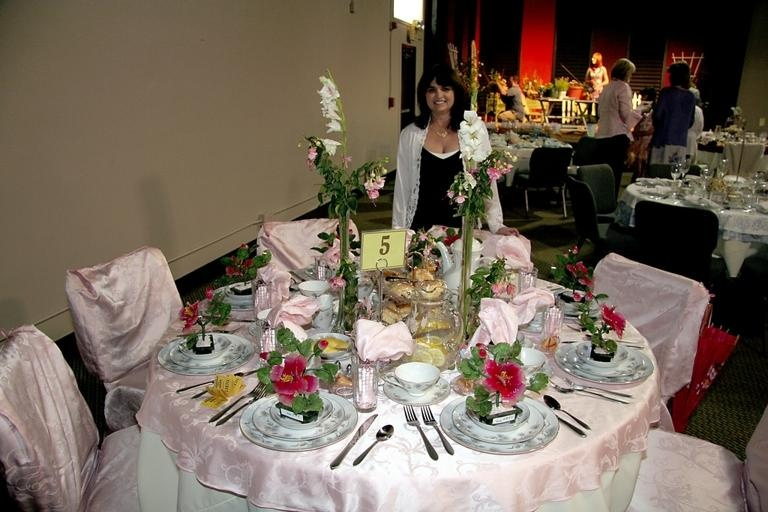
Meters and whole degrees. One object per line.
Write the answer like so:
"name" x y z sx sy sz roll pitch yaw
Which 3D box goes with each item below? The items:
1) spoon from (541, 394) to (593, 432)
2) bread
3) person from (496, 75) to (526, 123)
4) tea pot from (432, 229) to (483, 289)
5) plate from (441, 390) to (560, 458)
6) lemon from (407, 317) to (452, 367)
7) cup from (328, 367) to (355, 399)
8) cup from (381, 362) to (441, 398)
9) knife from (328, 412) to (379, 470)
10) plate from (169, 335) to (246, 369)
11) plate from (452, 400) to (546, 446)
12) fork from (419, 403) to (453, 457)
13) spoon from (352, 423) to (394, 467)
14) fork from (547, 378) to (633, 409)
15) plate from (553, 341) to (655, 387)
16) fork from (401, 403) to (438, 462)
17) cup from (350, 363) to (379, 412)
"spoon" 0.631 0.547 1.767 0.050 0.035 0.240 -16 40 -33
"bread" 0.103 0.156 2.121 0.211 0.086 0.270 -13 24 -4
"person" 2.564 -3.102 10.028 0.620 1.092 0.588 9 15 26
"tea pot" 0.325 0.032 2.203 0.220 0.252 0.159 2 14 8
"plate" 0.377 0.590 1.651 0.222 0.033 0.228 12 25 28
"lemon" 0.191 0.327 1.922 0.179 0.261 0.167 1 -4 -9
"cup" -0.149 0.516 1.874 0.038 0.099 0.070 0 54 22
"cup" 0.108 0.455 1.794 0.148 0.064 0.107 -5 12 15
"knife" -0.102 0.627 1.641 0.042 0.020 0.416 22 7 12
"plate" -0.739 0.378 2.055 0.280 0.037 0.295 12 8 24
"plate" 0.377 0.567 1.671 0.306 0.050 0.316 -17 3 22
"fork" 0.175 0.582 1.681 0.039 0.035 0.231 -11 32 -14
"spoon" -0.025 0.611 1.628 0.051 0.036 0.250 25 34 16
"fork" 0.785 0.515 1.847 0.325 0.041 0.099 12 27 15
"plate" 0.890 0.447 1.958 0.199 0.051 0.207 2 17 0
"fork" 0.122 0.587 1.668 0.043 0.038 0.265 -6 38 -14
"cup" -0.065 0.456 1.752 0.089 0.188 0.083 1 22 0
